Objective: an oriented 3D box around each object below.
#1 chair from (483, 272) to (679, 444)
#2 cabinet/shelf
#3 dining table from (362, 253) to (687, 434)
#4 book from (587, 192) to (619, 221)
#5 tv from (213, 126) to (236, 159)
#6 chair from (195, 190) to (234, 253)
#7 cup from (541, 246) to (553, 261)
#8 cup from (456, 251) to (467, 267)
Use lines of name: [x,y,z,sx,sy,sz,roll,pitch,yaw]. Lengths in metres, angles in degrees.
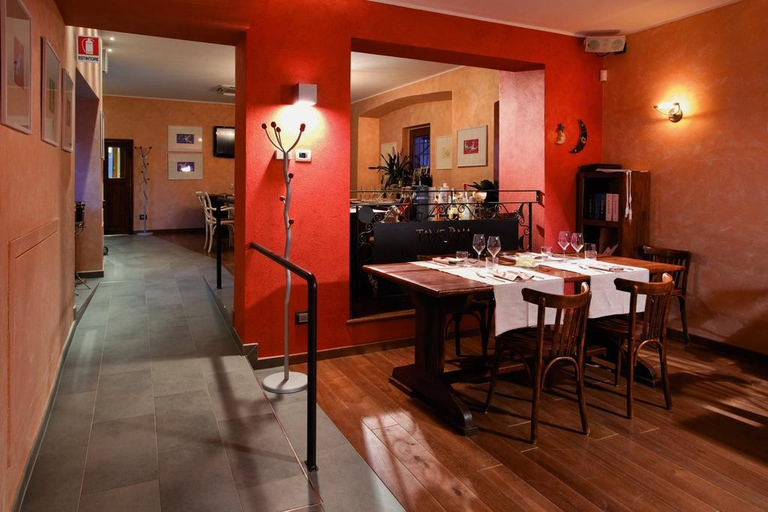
chair: [1.602,0.850,4.220,1.200,0.837,0.484,-3,7,-29]
cabinet/shelf: [2.734,-0.566,6.153,0.484,1.051,0.772,-7,12,-42]
dining table: [0.977,0.569,4.755,2.098,1.022,1.140,-8,10,-31]
book: [2.596,-0.578,6.062,0.183,0.333,0.346,1,-3,-18]
tv: [-4.076,-2.994,13.436,0.819,0.811,0.094,9,10,27]
chair: [-3.445,-0.698,10.822,0.842,1.197,0.731,1,4,-17]
cup: [1.619,-0.018,5.001,0.126,0.132,0.117,0,4,0]
cup: [0.720,0.030,4.694,0.113,0.126,0.112,0,6,0]
